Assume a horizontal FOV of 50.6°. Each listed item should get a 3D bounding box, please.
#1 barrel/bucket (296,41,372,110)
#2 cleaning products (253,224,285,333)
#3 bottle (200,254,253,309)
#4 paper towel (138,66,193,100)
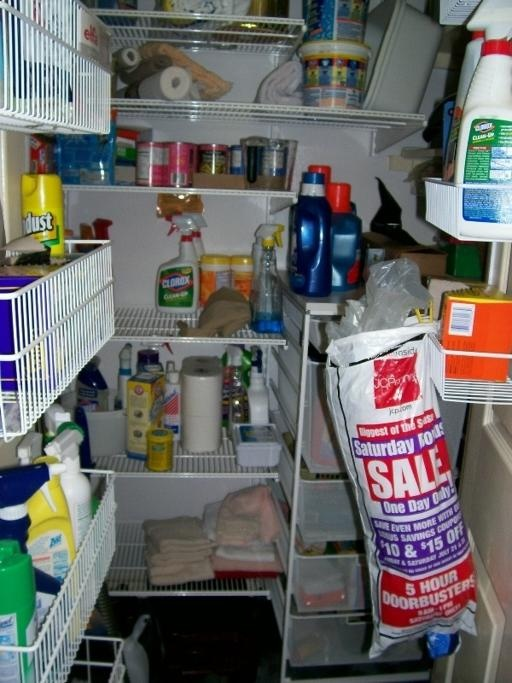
[{"bbox_3d":[0.191,-0.672,1.415,0.170,0.130,0.175,-1,21,0],"label":"barrel/bucket"},{"bbox_3d":[0.033,-0.196,1.634,0.091,0.307,0.222,-1,18,2],"label":"cleaning products"},{"bbox_3d":[-0.095,-0.209,1.769,0.194,0.183,0.108,-1,12,-10],"label":"bottle"},{"bbox_3d":[-0.230,-0.647,1.374,0.139,0.081,0.099,-5,19,-10],"label":"paper towel"}]
